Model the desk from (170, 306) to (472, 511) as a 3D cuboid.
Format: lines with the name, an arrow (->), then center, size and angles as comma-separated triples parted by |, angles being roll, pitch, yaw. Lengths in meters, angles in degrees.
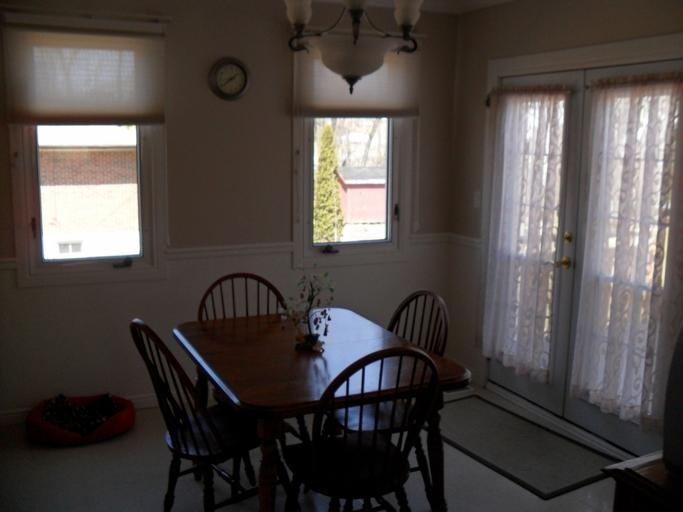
desk -> -0.232, 0.572, 3.040 | 1.003, 0.755, 1.559 | -4, 11, -22
